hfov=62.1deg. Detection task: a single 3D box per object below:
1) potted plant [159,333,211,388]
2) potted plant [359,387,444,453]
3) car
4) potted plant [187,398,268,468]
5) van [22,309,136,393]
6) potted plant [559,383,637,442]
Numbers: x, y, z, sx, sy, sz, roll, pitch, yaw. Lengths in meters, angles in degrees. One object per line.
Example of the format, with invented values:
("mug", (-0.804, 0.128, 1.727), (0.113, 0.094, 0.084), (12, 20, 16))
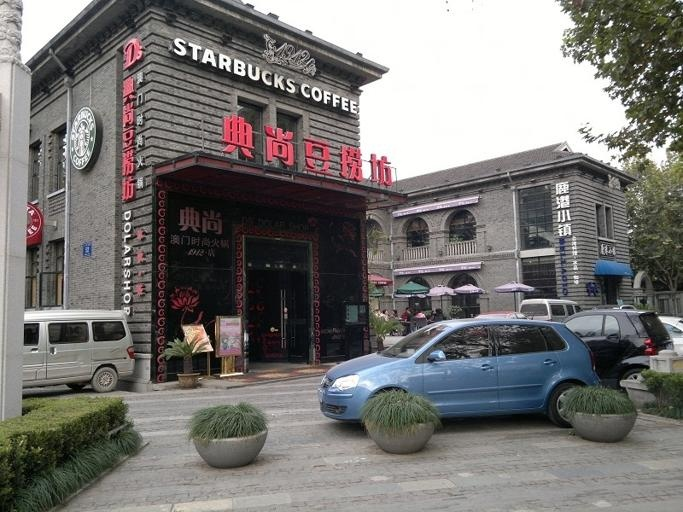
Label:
("potted plant", (-4.447, 3.044, 16.198), (1.429, 1.327, 1.509), (1, -9, -26))
("potted plant", (0.936, 2.638, 9.176), (1.119, 0.693, 1.102), (-7, -14, 31))
("car", (2.328, 2.109, 10.931), (5.358, 1.517, 2.202), (2, -10, -5))
("potted plant", (-1.760, 2.676, 8.616), (1.034, 0.636, 1.053), (-11, -15, 42))
("van", (-7.410, 2.510, 15.337), (3.326, 1.607, 1.998), (7, -12, -43))
("potted plant", (4.395, 2.831, 9.874), (1.259, 0.803, 1.143), (-6, -12, 4))
